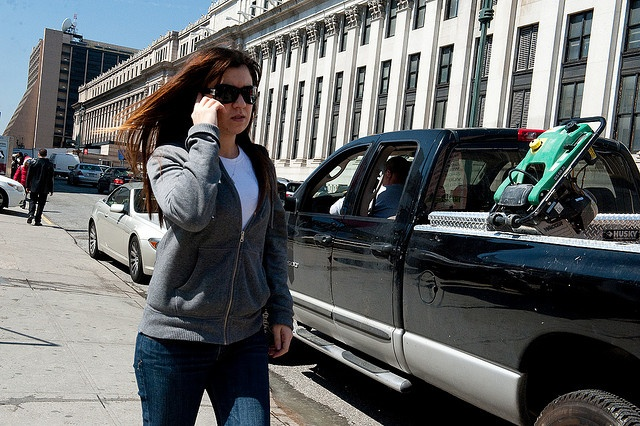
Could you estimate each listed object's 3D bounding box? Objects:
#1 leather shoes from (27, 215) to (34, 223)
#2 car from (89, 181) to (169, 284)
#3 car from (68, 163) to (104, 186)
[{"bbox_3d":[-8.538,0.171,13.921,0.119,0.230,0.360,4,5,-34],"label":"leather shoes"},{"bbox_3d":[-3.791,0.280,9.501,1.867,1.562,4.127,1,-4,-27],"label":"car"},{"bbox_3d":[-20.848,-3.433,41.971,1.890,1.364,4.037,0,4,-28],"label":"car"}]
